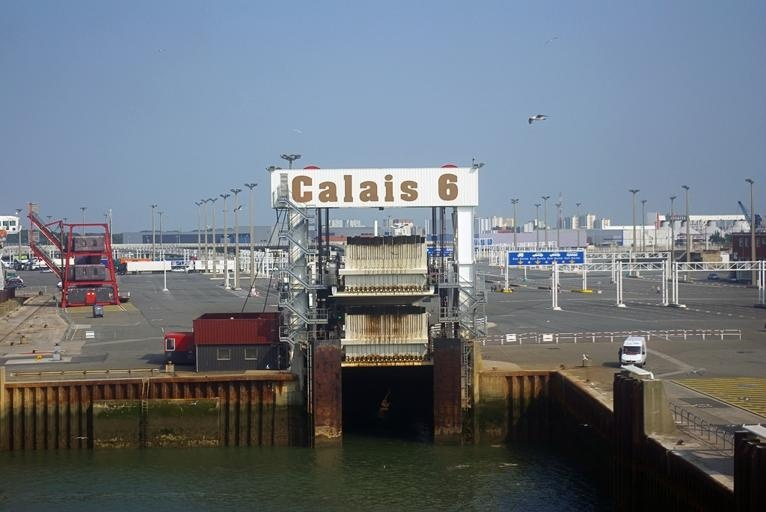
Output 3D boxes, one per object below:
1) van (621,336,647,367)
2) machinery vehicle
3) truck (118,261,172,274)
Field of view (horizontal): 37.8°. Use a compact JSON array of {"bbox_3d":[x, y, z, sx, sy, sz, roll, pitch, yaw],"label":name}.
[{"bbox_3d":[24.341,9.266,108.940,1.932,1.622,3.434,-2,-2,18],"label":"van"},{"bbox_3d":[-43.786,-0.350,161.372,12.855,14.023,9.366,-1,6,-7],"label":"machinery vehicle"},{"bbox_3d":[-52.993,2.513,250.606,8.397,3.006,2.861,0,-3,-44],"label":"truck"}]
